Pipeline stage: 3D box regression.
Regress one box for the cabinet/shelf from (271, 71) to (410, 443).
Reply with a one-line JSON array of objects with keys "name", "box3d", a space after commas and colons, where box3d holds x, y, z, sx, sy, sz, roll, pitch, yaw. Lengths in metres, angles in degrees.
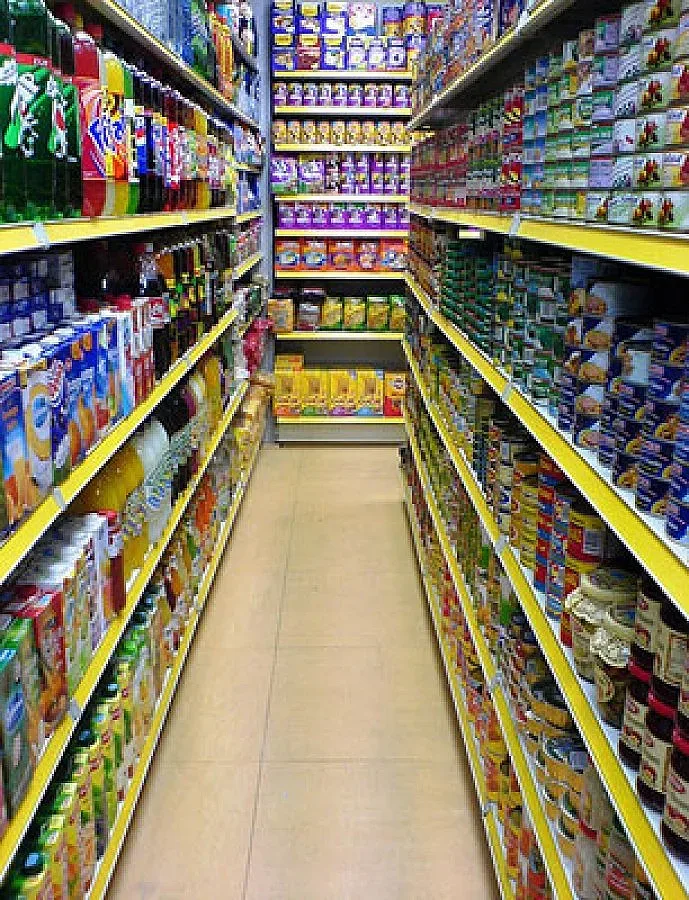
[{"name": "cabinet/shelf", "box3d": [-0.039, -1.598, 5.096, 1.032, 1.875, 3.431, -2, -73, -4]}]
